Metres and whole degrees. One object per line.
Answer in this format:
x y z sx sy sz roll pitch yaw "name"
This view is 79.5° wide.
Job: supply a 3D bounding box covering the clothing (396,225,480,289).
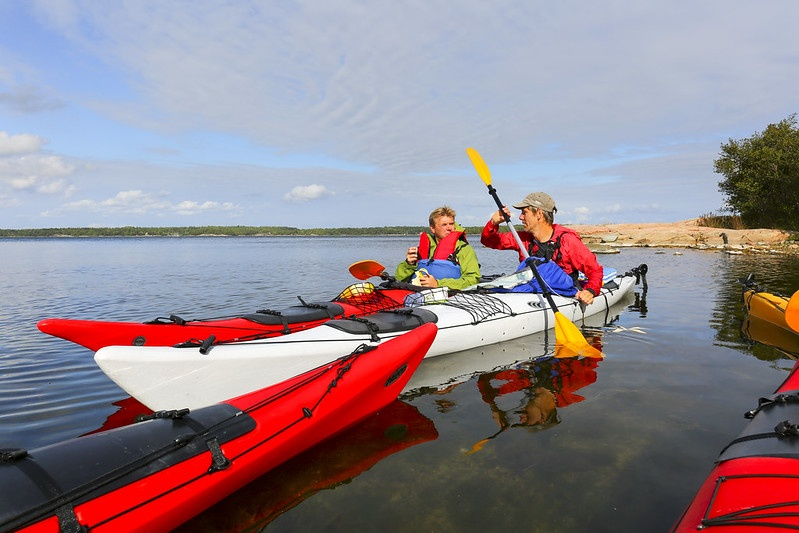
0.748 -0.160 8.429 1.043 0.886 1.668 -18 19 -32 "clothing"
